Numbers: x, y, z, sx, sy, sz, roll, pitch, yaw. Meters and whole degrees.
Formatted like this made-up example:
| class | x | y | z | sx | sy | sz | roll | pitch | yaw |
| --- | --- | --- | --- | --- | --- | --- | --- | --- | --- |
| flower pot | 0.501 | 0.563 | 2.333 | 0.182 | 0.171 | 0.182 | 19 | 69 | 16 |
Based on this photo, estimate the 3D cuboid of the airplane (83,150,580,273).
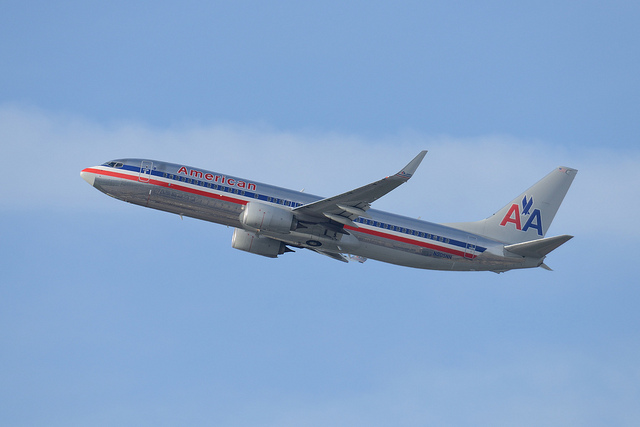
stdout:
| class | x | y | z | sx | sy | sz | roll | pitch | yaw |
| --- | --- | --- | --- | --- | --- | --- | --- | --- | --- |
| airplane | 2.098 | 0.904 | 80.301 | 30.781 | 11.657 | 6.661 | 5 | -79 | -6 |
